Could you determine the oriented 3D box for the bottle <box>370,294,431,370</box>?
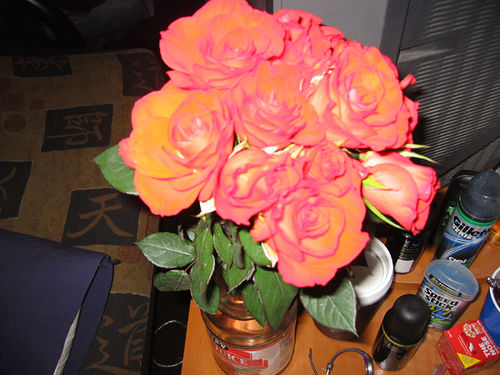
[{"bbox_3d":[0.331,0.337,0.813,0.091,0.245,0.052,16,38,23],"label":"bottle"}]

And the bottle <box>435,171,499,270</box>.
[{"bbox_3d":[0.534,0.093,0.879,0.092,0.257,0.071,-5,35,-5],"label":"bottle"}]

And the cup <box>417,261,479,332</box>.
[{"bbox_3d":[0.489,0.265,0.899,0.107,0.170,0.108,-1,35,0],"label":"cup"}]

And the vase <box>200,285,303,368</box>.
[{"bbox_3d":[0.002,0.263,0.677,0.153,0.250,0.155,-8,62,-4],"label":"vase"}]
